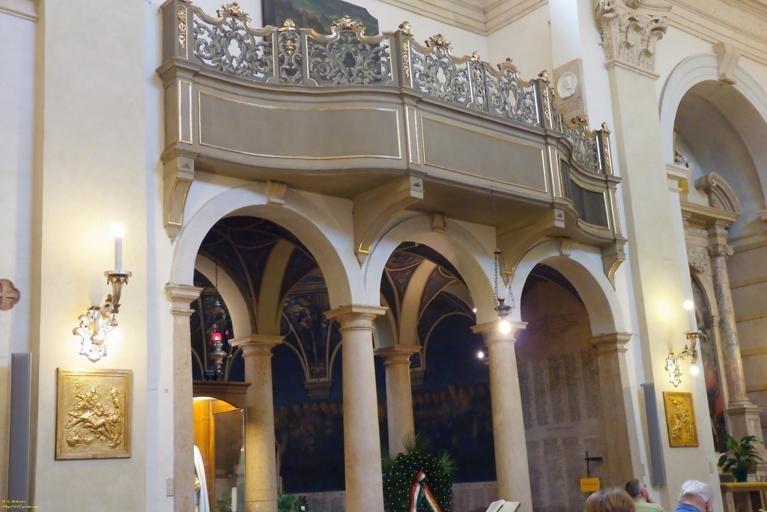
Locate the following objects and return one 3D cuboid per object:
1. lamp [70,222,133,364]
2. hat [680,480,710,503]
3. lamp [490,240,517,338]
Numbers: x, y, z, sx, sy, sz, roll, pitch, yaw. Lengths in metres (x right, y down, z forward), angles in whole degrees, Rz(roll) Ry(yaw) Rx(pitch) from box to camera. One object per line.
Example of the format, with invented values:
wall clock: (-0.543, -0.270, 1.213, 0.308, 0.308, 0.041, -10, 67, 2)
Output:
lamp: (-3.319, 0.417, 10.079, 0.797, 1.597, 0.572, -21, -25, 40)
hat: (3.217, 2.390, 8.579, 0.239, 0.234, 0.186, -5, 0, -23)
lamp: (1.894, 0.500, 13.265, 0.326, 1.381, 0.743, -8, -19, 11)
